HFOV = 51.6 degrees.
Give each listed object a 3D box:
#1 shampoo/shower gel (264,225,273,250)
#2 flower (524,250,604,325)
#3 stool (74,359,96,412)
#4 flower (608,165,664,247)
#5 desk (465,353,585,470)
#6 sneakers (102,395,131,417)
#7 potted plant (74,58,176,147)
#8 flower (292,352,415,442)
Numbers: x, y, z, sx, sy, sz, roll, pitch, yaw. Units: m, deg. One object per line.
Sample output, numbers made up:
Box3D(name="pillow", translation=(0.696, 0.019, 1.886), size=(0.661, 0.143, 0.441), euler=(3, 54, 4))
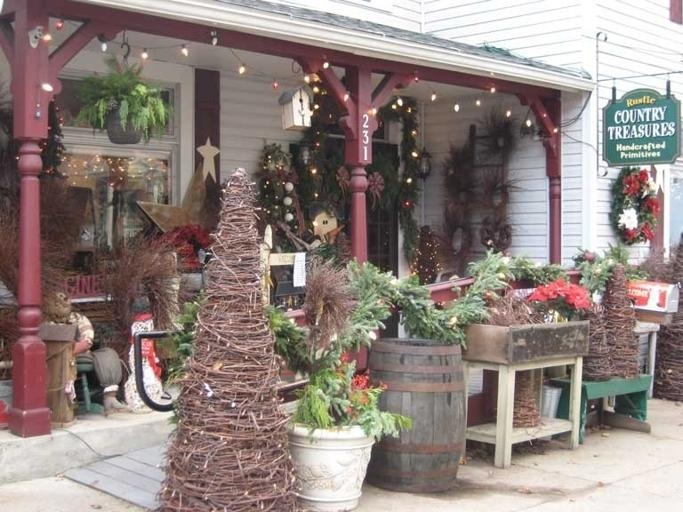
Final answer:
Box3D(name="shampoo/shower gel", translation=(-0.746, -0.190, 7.215), size=(0.075, 0.339, 0.163), euler=(0, 0, -28))
Box3D(name="flower", translation=(2.234, 0.358, 7.059), size=(0.711, 0.665, 0.778), euler=(1, 15, 27))
Box3D(name="stool", translation=(-2.262, 1.094, 6.221), size=(0.141, 0.493, 0.440), euler=(1, 5, -20))
Box3D(name="flower", translation=(3.758, -0.662, 9.100), size=(0.322, 1.024, 0.743), euler=(-1, -10, 33))
Box3D(name="desk", translation=(1.670, 1.450, 6.483), size=(0.411, 0.748, 0.960), euler=(-2, -2, 43))
Box3D(name="sneakers", translation=(-1.956, 1.291, 6.137), size=(0.255, 0.237, 0.117), euler=(-4, 4, -17))
Box3D(name="potted plant", translation=(-2.051, -1.470, 6.645), size=(0.833, 0.789, 0.453), euler=(4, 5, 17))
Box3D(name="flower", translation=(0.128, 0.973, 5.186), size=(0.570, 0.485, 0.735), euler=(9, 4, 31))
